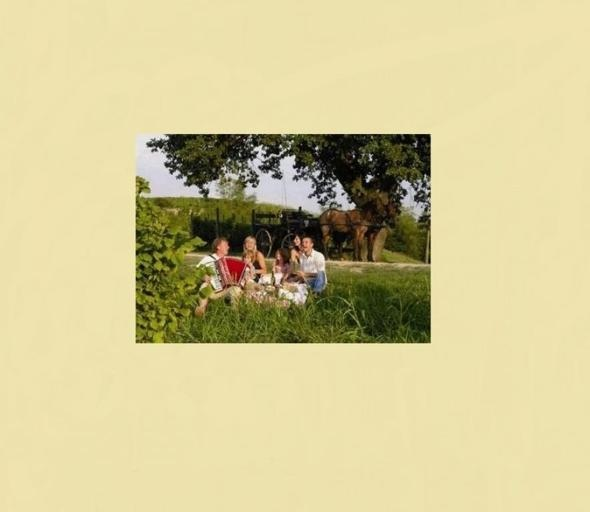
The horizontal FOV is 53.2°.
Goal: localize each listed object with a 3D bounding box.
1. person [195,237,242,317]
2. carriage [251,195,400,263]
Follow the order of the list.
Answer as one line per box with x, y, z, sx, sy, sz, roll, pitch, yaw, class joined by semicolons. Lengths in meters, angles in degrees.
-0.925;0.245;6.902;0.562;0.896;0.285;-2;5;-41;person
0.433;-0.485;8.071;2.117;0.990;0.808;-5;8;-36;carriage
